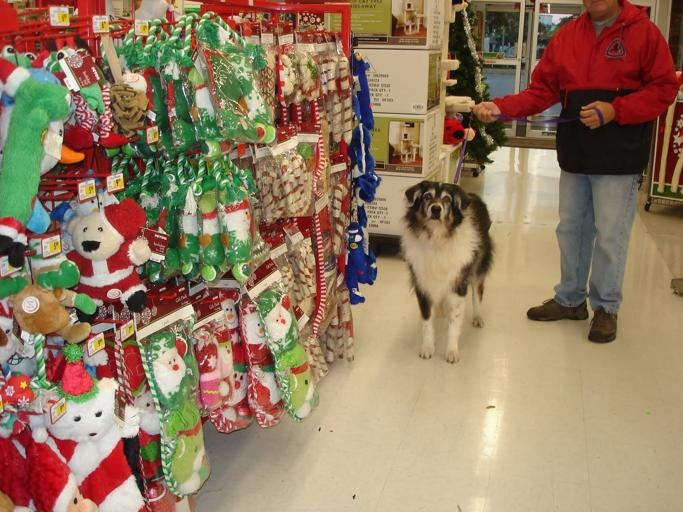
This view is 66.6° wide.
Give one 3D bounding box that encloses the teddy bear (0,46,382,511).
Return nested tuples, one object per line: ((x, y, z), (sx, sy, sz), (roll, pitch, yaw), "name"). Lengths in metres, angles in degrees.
((-0.528, 0.115, 2.194), (0.511, 1.837, 1.774), (7, 22, 29), "teddy bear")

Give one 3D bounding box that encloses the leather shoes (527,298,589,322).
((1.655, 0.395, 4.051), (0.465, 0.243, 0.188), (1, 14, 0), "leather shoes")

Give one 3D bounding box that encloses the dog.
((0.720, 0.037, 3.688), (0.574, 1.113, 0.807), (5, 21, 24), "dog")

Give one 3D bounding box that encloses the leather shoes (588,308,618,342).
((1.867, 0.503, 3.661), (0.107, 0.142, 0.345), (3, 19, 22), "leather shoes")
